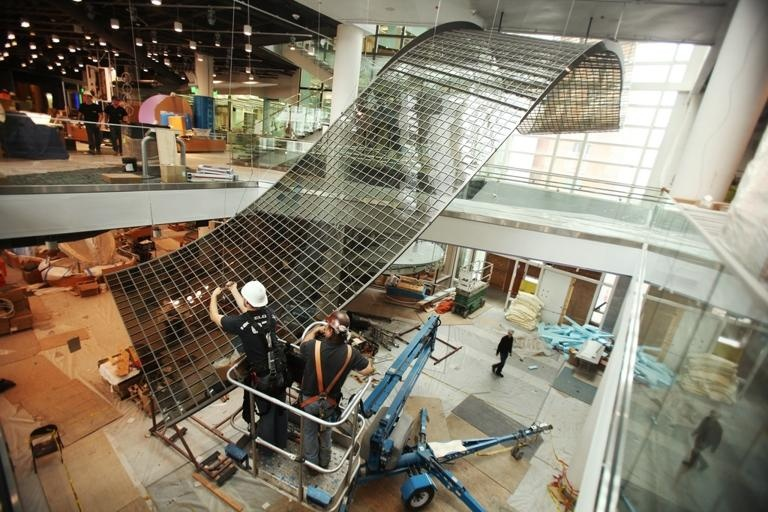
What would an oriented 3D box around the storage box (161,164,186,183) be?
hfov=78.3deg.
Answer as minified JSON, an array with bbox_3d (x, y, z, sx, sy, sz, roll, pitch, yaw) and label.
[{"bbox_3d":[-4.962,-1.921,11.119,0.521,0.372,0.702,13,23,-8],"label":"storage box"}]

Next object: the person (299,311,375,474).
[{"bbox_3d":[-0.919,2.134,7.293,1.056,2.529,0.982,17,23,29],"label":"person"}]

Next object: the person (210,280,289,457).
[{"bbox_3d":[-2.110,1.713,7.515,0.959,2.578,1.516,-7,23,-30],"label":"person"}]

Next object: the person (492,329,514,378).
[{"bbox_3d":[3.281,2.568,13.011,0.375,1.388,0.740,12,21,18],"label":"person"}]

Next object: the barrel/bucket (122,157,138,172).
[{"bbox_3d":[-5.780,-2.057,10.632,0.169,0.296,0.303,24,4,35],"label":"barrel/bucket"}]

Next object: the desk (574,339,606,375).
[{"bbox_3d":[6.015,2.822,13.667,0.686,0.328,0.889,17,45,31],"label":"desk"}]

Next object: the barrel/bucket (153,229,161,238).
[{"bbox_3d":[-7.276,-0.725,15.030,0.219,0.227,0.207,14,17,-4],"label":"barrel/bucket"}]

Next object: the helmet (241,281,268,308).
[{"bbox_3d":[-2.027,0.596,7.410,0.340,0.229,0.451,-11,43,-43],"label":"helmet"}]

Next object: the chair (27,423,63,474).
[{"bbox_3d":[-6.866,3.744,9.527,0.565,0.805,0.738,-10,24,-36],"label":"chair"}]
